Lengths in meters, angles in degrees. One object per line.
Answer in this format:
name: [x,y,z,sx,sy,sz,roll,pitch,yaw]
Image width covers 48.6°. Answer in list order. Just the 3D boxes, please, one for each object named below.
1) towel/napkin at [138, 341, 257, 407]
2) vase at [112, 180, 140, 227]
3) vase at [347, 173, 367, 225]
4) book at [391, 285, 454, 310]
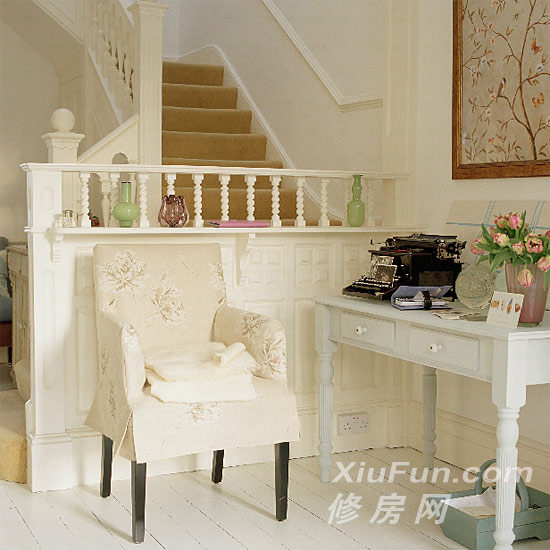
towel/napkin: [-0.279,0.349,2.289,0.404,0.174,0.452,0,2,-13]
vase: [-0.679,-0.322,2.766,0.102,0.226,0.306,0,2,-15]
vase: [0.403,-0.369,3.038,0.092,0.254,0.091,1,2,-1]
book: [0.564,0.090,2.374,0.160,0.055,0.118,1,-1,-10]
